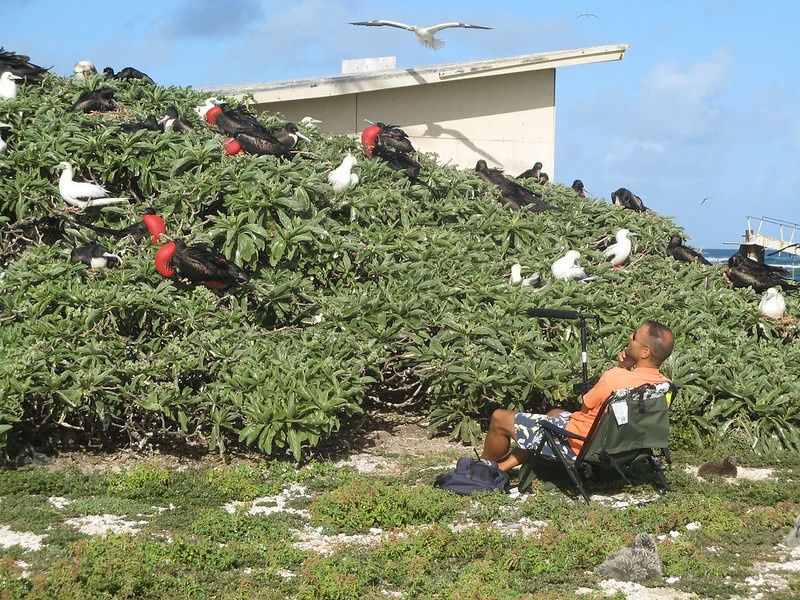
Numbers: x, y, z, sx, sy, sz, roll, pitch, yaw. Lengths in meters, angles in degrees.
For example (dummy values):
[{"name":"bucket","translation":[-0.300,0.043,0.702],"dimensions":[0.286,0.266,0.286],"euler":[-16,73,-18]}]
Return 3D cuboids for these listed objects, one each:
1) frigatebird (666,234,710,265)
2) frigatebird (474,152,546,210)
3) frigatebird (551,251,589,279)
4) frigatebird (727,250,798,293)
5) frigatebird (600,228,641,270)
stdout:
[{"name":"frigatebird","translation":[4.349,-0.747,15.322],"dimensions":[0.714,0.526,0.519],"euler":[-1,-3,33]},{"name":"frigatebird","translation":[1.672,-1.758,15.625],"dimensions":[1.188,0.892,1.194],"euler":[0,-3,23]},{"name":"frigatebird","translation":[2.326,-0.427,13.746],"dimensions":[0.490,0.354,0.339],"euler":[-10,27,-39]},{"name":"frigatebird","translation":[5.101,-0.376,14.497],"dimensions":[0.465,0.447,0.950],"euler":[-19,26,-39]},{"name":"frigatebird","translation":[3.206,-0.743,15.032],"dimensions":[0.402,0.630,0.827],"euler":[0,-3,24]}]
